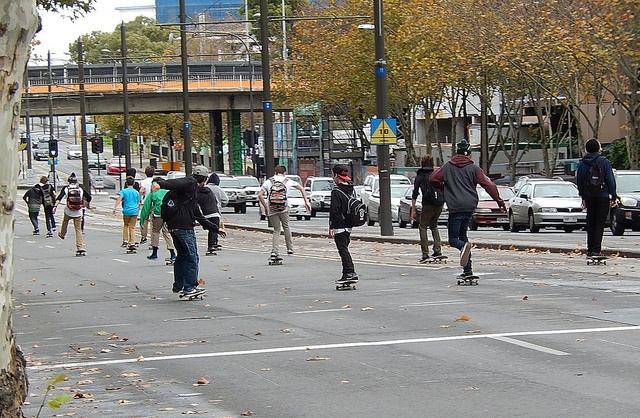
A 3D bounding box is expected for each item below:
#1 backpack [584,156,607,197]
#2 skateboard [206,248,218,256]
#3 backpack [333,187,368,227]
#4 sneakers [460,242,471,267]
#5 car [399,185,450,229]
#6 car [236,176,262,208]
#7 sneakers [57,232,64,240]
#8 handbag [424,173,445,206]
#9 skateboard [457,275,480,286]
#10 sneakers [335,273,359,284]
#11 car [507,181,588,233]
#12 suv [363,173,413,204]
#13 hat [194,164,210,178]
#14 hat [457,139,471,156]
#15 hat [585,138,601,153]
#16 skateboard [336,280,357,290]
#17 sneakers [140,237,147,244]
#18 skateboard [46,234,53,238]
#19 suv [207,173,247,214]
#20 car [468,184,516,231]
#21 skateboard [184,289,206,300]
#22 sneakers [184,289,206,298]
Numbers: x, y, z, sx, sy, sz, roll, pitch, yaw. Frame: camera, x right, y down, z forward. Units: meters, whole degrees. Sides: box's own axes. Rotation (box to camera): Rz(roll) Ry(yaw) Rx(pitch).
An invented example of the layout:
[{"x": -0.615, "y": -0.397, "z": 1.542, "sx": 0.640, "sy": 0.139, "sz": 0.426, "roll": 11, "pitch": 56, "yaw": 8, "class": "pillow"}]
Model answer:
[{"x": 5.305, "y": -0.602, "z": 20.010, "sx": 0.417, "sy": 0.772, "sz": 0.244, "roll": -4, "pitch": 3, "yaw": 11, "class": "backpack"}, {"x": -2.799, "y": 1.126, "z": 26.798, "sx": 0.247, "sy": 0.123, "sz": 0.316, "roll": 0, "pitch": -2, "yaw": -4, "class": "skateboard"}, {"x": 0.548, "y": -0.035, "z": 18.869, "sx": 0.457, "sy": 0.552, "sz": 0.717, "roll": -4, "pitch": 16, "yaw": -38, "class": "backpack"}, {"x": 2.635, "y": 0.814, "z": 18.337, "sx": 0.202, "sy": 0.407, "sz": 0.186, "roll": 4, "pitch": 13, "yaw": -17, "class": "sneakers"}, {"x": 3.734, "y": 0.063, "z": 37.162, "sx": 1.293, "sy": 0.825, "sz": 2.305, "roll": 1, "pitch": -3, "yaw": -11, "class": "car"}, {"x": -3.852, "y": -1.132, "z": 57.341, "sx": 1.691, "sy": 1.139, "sz": 3.124, "roll": 0, "pitch": -1, "yaw": -4, "class": "car"}, {"x": -8.552, "y": 0.893, "z": 34.156, "sx": 0.193, "sy": 0.156, "sz": 0.433, "roll": -35, "pitch": 19, "yaw": 0, "class": "sneakers"}, {"x": 2.589, "y": -0.358, "z": 22.136, "sx": 0.564, "sy": 0.774, "sz": 0.657, "roll": -3, "pitch": 3, "yaw": -2, "class": "handbag"}, {"x": 2.665, "y": 1.279, "z": 18.624, "sx": 0.384, "sy": 0.177, "sz": 0.361, "roll": -3, "pitch": 2, "yaw": 6, "class": "skateboard"}, {"x": 0.452, "y": 1.242, "z": 18.599, "sx": 0.462, "sy": 0.146, "sz": 0.145, "roll": 1, "pitch": 1, "yaw": 9, "class": "sneakers"}, {"x": 7.199, "y": -0.071, "z": 32.982, "sx": 1.551, "sy": 0.846, "sz": 2.710, "roll": 0, "pitch": -3, "yaw": -8, "class": "car"}, {"x": 2.390, "y": -0.892, "z": 42.716, "sx": 1.399, "sy": 0.982, "sz": 2.711, "roll": -18, "pitch": 5, "yaw": -36, "class": "suv"}, {"x": -2.211, "y": -0.694, "z": 19.041, "sx": 0.299, "sy": 0.179, "sz": 0.199, "roll": 1, "pitch": 5, "yaw": 18, "class": "hat"}, {"x": 2.659, "y": -1.166, "z": 19.125, "sx": 0.323, "sy": 0.317, "sz": 0.335, "roll": 4, "pitch": -8, "yaw": 0, "class": "hat"}, {"x": 5.299, "y": -1.225, "z": 20.071, "sx": 0.338, "sy": 0.340, "sz": 0.369, "roll": -2, "pitch": 30, "yaw": 14, "class": "hat"}, {"x": 0.482, "y": 1.370, "z": 18.582, "sx": 0.367, "sy": 0.125, "sz": 0.168, "roll": -1, "pitch": 4, "yaw": 3, "class": "skateboard"}, {"x": -5.291, "y": 0.957, "z": 31.011, "sx": 0.214, "sy": 0.193, "sz": 0.543, "roll": 0, "pitch": 5, "yaw": -13, "class": "sneakers"}, {"x": -9.899, "y": 0.975, "z": 37.756, "sx": 0.334, "sy": 0.110, "sz": 0.144, "roll": -2, "pitch": 1, "yaw": 40, "class": "skateboard"}, {"x": -4.893, "y": -1.160, "z": 54.672, "sx": 1.681, "sy": 1.205, "sz": 3.104, "roll": 0, "pitch": 19, "yaw": -13, "class": "suv"}, {"x": 6.162, "y": -0.031, "z": 36.070, "sx": 1.808, "sy": 1.087, "sz": 2.612, "roll": 0, "pitch": -3, "yaw": -8, "class": "car"}, {"x": -2.238, "y": 1.492, "z": 18.178, "sx": 0.464, "sy": 0.200, "sz": 0.139, "roll": -5, "pitch": 21, "yaw": -5, "class": "skateboard"}, {"x": -2.195, "y": 1.464, "z": 18.168, "sx": 0.421, "sy": 0.147, "sz": 0.129, "roll": -8, "pitch": 15, "yaw": -8, "class": "sneakers"}]
